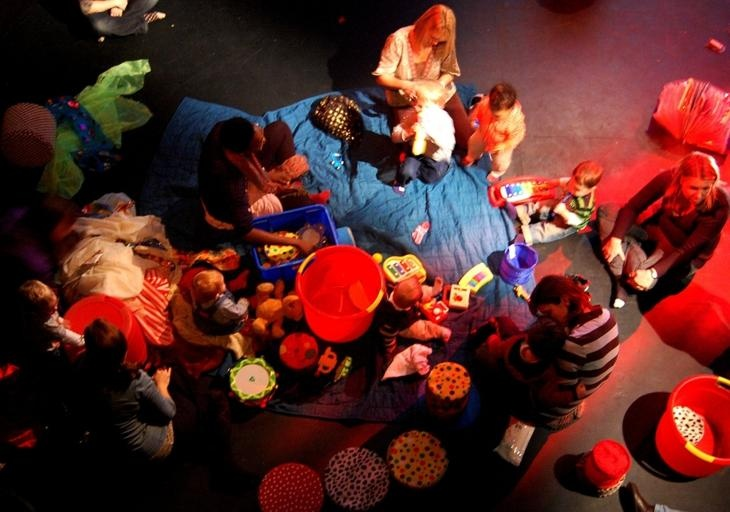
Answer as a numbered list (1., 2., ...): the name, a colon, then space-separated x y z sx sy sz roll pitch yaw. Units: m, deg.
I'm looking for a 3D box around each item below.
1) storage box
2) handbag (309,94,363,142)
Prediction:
1. storage box: -0.726 -0.138 5.321 0.871 0.700 0.298 -18 -19 1
2. handbag: -0.321 -1.580 5.771 0.601 0.472 0.182 36 -5 -1
